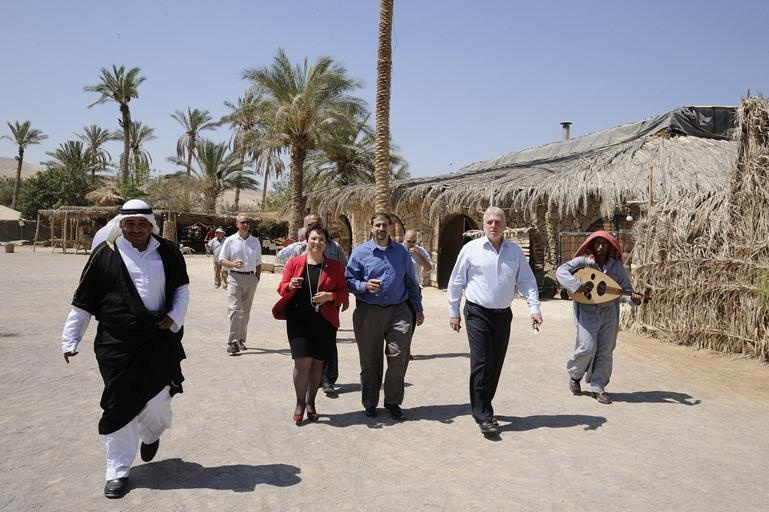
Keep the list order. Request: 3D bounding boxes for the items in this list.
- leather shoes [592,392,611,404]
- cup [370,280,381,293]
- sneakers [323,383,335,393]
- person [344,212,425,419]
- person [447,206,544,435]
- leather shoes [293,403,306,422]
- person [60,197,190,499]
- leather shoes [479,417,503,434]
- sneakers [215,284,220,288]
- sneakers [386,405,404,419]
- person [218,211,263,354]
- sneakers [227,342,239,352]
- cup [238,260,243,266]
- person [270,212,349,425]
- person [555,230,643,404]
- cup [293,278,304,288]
[{"bbox_3d":[2.658,1.708,7.581,0.194,0.097,0.258,1,6,5],"label":"leather shoes"},{"bbox_3d":[-0.110,0.336,6.854,0.115,0.160,0.196,2,6,6],"label":"cup"},{"bbox_3d":[-0.704,1.634,7.732,0.127,0.075,0.261,0,-2,-9],"label":"sneakers"},{"bbox_3d":[-0.015,0.646,7.017,0.876,2.228,0.586,1,6,-3],"label":"person"},{"bbox_3d":[1.184,0.650,6.733,0.928,2.330,0.887,0,6,-9],"label":"person"},{"bbox_3d":[-0.924,1.664,6.727,0.129,0.204,0.277,0,6,-6],"label":"leather shoes"},{"bbox_3d":[-2.219,0.741,5.544,0.919,2.432,0.753,-3,7,-33],"label":"person"},{"bbox_3d":[1.096,1.772,6.455,0.119,0.117,0.270,-2,-13,-3],"label":"leather shoes"},{"bbox_3d":[-4.951,0.891,18.401,0.156,0.110,0.086,-2,-5,35],"label":"sneakers"},{"bbox_3d":[0.108,1.729,6.926,0.092,0.103,0.253,2,-4,-27],"label":"sneakers"},{"bbox_3d":[-2.257,0.416,9.595,0.449,2.079,0.636,5,7,33],"label":"person"},{"bbox_3d":[-2.337,1.383,9.428,0.192,0.165,0.120,11,-11,-26],"label":"sneakers"},{"bbox_3d":[-2.205,0.106,9.450,0.055,0.087,0.127,1,6,-2],"label":"cup"},{"bbox_3d":[-0.815,0.711,6.874,0.560,2.084,0.742,7,8,44],"label":"person"},{"bbox_3d":[2.677,0.717,7.857,0.862,2.027,0.864,7,8,44],"label":"person"},{"bbox_3d":[-0.934,0.295,6.704,0.058,0.123,0.148,6,8,42],"label":"cup"}]
